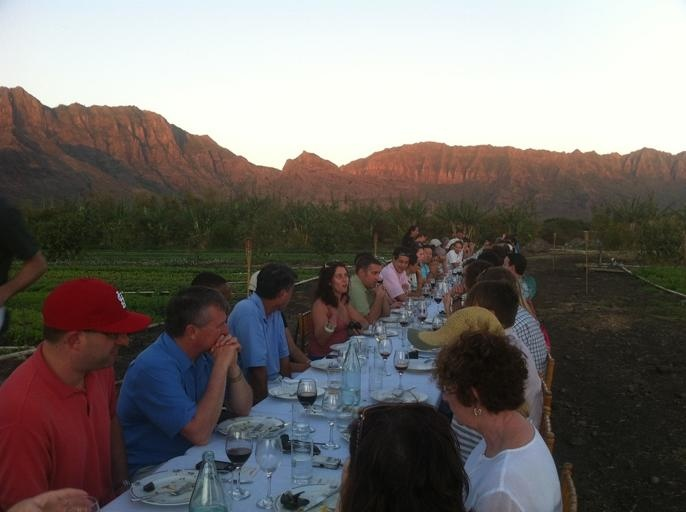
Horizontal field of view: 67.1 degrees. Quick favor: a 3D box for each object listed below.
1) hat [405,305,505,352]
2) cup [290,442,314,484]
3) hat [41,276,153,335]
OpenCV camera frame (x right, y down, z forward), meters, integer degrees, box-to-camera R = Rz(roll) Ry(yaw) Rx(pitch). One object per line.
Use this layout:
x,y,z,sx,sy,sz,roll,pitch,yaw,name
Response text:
0.831,0.558,3.976,0.641,0.281,0.494,-22,-14,39,hat
-0.232,1.159,2.900,0.113,0.246,0.085,0,5,-6,cup
-1.464,0.294,3.063,0.469,0.245,0.345,6,7,-24,hat
